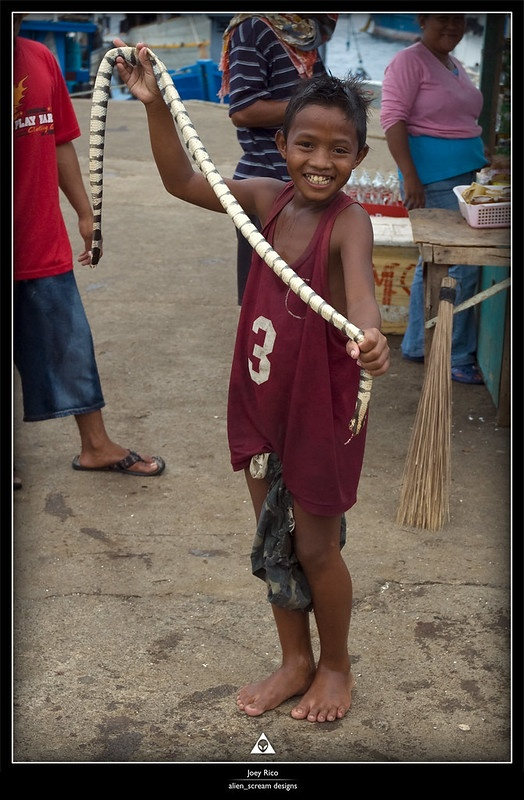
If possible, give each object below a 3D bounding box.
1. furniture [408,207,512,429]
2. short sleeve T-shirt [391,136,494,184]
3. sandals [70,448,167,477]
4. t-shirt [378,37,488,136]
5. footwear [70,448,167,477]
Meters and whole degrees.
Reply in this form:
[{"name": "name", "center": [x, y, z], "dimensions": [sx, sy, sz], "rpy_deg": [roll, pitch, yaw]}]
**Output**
[{"name": "furniture", "center": [0.917, -0.366, 3.948], "dimensions": [0.447, 0.974, 0.602], "rpy_deg": [0, 16, 9]}, {"name": "short sleeve T-shirt", "center": [0.960, -1.254, 4.329], "dimensions": [0.471, 0.292, 0.244], "rpy_deg": [-11, 19, -1]}, {"name": "sandals", "center": [-0.605, 0.258, 3.511], "dimensions": [0.361, 0.075, 0.129], "rpy_deg": [0, 26, -2]}, {"name": "t-shirt", "center": [0.887, -1.603, 4.406], "dimensions": [0.758, 0.518, 0.422], "rpy_deg": [-12, 21, -41]}, {"name": "footwear", "center": [-0.603, 0.264, 3.500], "dimensions": [0.361, 0.075, 0.129], "rpy_deg": [0, 26, -2]}]
